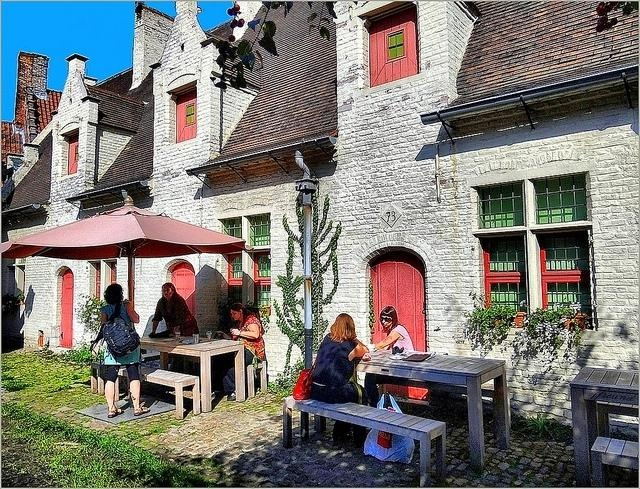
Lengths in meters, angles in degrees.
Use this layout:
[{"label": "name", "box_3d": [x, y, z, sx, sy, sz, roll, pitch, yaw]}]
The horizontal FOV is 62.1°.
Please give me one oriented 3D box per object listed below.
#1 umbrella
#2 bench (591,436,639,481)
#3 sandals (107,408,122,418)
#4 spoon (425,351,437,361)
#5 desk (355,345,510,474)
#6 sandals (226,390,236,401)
[{"label": "umbrella", "box_3d": [-3.797, 0.241, 10.293, 3.386, 2.371, 3.317, 1, 3, 25]}, {"label": "bench", "box_3d": [3.865, 2.831, 7.002, 0.592, 0.535, 0.332, -5, -12, 34]}, {"label": "sandals", "box_3d": [-3.719, 3.049, 9.645, 0.105, 0.103, 0.248, 3, 4, 27]}, {"label": "spoon", "box_3d": [1.859, 1.862, 8.895, 0.101, 0.069, 0.490, -1, -5, 27]}, {"label": "desk", "box_3d": [1.842, 2.811, 8.368, 1.354, 1.712, 2.619, 9, -14, -43]}, {"label": "sandals", "box_3d": [-1.787, 3.044, 10.715, 0.202, 0.101, 0.334, 1, -9, -9]}]
